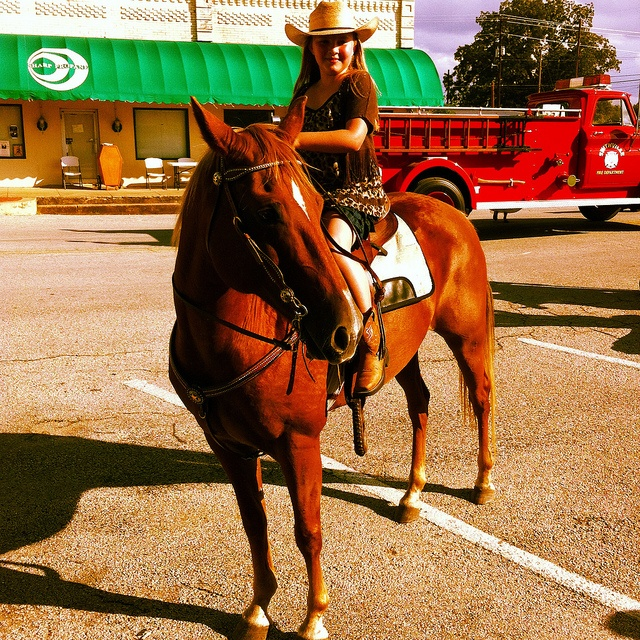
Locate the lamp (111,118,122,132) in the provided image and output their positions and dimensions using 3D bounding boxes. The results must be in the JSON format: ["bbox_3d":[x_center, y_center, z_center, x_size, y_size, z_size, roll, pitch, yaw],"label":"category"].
[{"bbox_3d":[-6.109,-5.958,22.915,0.243,0.391,0.136,0,5,-19],"label":"lamp"}]

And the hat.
[{"bbox_3d":[0.082,-1.354,3.433,0.380,0.206,0.433,-3,19,-14],"label":"hat"}]

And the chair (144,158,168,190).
[{"bbox_3d":[-5.109,-4.610,23.588,0.665,1.259,0.868,-8,27,-20],"label":"chair"}]

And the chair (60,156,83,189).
[{"bbox_3d":[-7.415,-4.504,22.721,0.581,0.952,1.664,-4,19,-18],"label":"chair"}]

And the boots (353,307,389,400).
[{"bbox_3d":[0.240,0.175,3.453,0.130,0.316,0.422,0,31,7],"label":"boots"}]

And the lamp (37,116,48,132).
[{"bbox_3d":[-8.109,-5.812,22.203,0.289,0.419,0.167,-6,18,-24],"label":"lamp"}]
